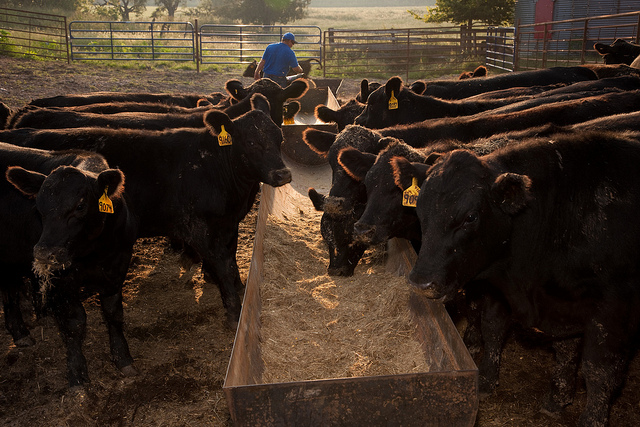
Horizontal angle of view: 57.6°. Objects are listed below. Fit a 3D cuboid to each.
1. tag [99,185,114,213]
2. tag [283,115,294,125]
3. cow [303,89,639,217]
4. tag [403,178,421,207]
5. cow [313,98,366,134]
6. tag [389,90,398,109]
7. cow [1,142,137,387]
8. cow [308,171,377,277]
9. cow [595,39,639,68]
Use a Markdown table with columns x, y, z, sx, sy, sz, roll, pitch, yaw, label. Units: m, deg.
| x | y | z | sx | sy | sz | roll | pitch | yaw | label |
| --- | --- | --- | --- | --- | --- | --- | --- | --- | --- |
| -2.205 | -0.139 | 5.926 | 0.136 | 0.269 | 0.059 | -13 | 23 | -34 | tag |
| -0.617 | -1.783 | 11.002 | 0.375 | 0.136 | 0.499 | -2 | 13 | -2 | tag |
| 1.735 | -0.696 | 6.418 | 3.127 | 1.345 | 0.984 | -13 | 17 | 4 | cow |
| 0.887 | -0.217 | 5.576 | 0.218 | 0.327 | 0.043 | 14 | 30 | 25 | tag |
| 0.230 | -1.550 | 9.531 | 0.747 | 0.581 | 1.163 | -1 | 20 | -3 | cow |
| 1.095 | -1.702 | 8.633 | 0.126 | 0.263 | 0.065 | 4 | 20 | 10 | tag |
| -2.775 | 0.552 | 6.414 | 1.709 | 2.320 | 1.110 | 15 | 24 | 36 | cow |
| 0.254 | 0.145 | 7.177 | 0.694 | 1.253 | 0.852 | 0 | -3 | 0 | cow |
| 6.405 | -3.490 | 12.468 | 0.902 | 0.509 | 0.708 | 15 | 24 | 34 | cow |
